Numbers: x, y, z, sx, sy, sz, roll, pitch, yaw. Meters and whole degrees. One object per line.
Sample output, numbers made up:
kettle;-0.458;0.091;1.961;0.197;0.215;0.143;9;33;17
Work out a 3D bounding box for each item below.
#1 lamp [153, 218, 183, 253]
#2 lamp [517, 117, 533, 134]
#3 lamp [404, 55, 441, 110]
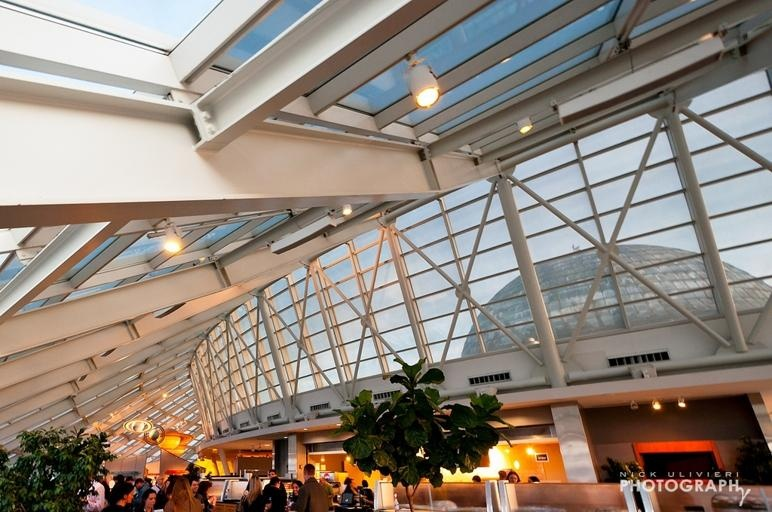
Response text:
lamp;-3.945;-0.390;8.189;0.389;0.746;0.528;16;-31;-32
lamp;2.917;-2.756;9.459;0.255;0.343;0.399;-12;-27;21
lamp;0.513;-2.585;6.339;0.388;1.130;0.399;-18;-31;29
